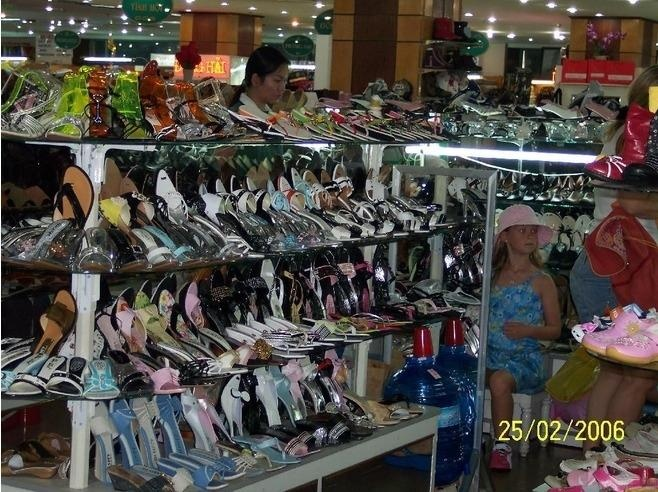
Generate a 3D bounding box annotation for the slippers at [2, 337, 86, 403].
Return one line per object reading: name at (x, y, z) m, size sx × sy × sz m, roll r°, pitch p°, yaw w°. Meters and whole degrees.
slippers at (-1.012, 0.419, 1.831) m, size 0.172 × 0.055 × 0.240 m, roll 5°, pitch 11°, yaw -5°

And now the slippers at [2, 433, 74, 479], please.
slippers at (-1.162, 0.845, 2.029) m, size 0.238 × 0.067 × 0.296 m, roll -4°, pitch 12°, yaw -28°

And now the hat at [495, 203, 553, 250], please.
hat at (1.378, -0.203, 3.740) m, size 0.327 × 0.184 × 0.371 m, roll -7°, pitch 0°, yaw -39°

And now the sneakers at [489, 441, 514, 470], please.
sneakers at (1.158, 1.431, 3.429) m, size 0.090 × 0.094 × 0.251 m, roll 2°, pitch 23°, yaw 9°

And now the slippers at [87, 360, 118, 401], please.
slippers at (-0.816, 0.471, 1.843) m, size 0.067 × 0.062 × 0.186 m, roll 3°, pitch 23°, yaw -13°

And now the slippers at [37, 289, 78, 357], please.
slippers at (-0.999, 0.286, 1.919) m, size 0.111 × 0.297 × 0.067 m, roll 26°, pitch 17°, yaw 28°

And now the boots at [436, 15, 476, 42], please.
boots at (1.941, -3.279, 7.759) m, size 0.771 × 0.468 × 0.263 m, roll 0°, pitch 5°, yaw 2°
